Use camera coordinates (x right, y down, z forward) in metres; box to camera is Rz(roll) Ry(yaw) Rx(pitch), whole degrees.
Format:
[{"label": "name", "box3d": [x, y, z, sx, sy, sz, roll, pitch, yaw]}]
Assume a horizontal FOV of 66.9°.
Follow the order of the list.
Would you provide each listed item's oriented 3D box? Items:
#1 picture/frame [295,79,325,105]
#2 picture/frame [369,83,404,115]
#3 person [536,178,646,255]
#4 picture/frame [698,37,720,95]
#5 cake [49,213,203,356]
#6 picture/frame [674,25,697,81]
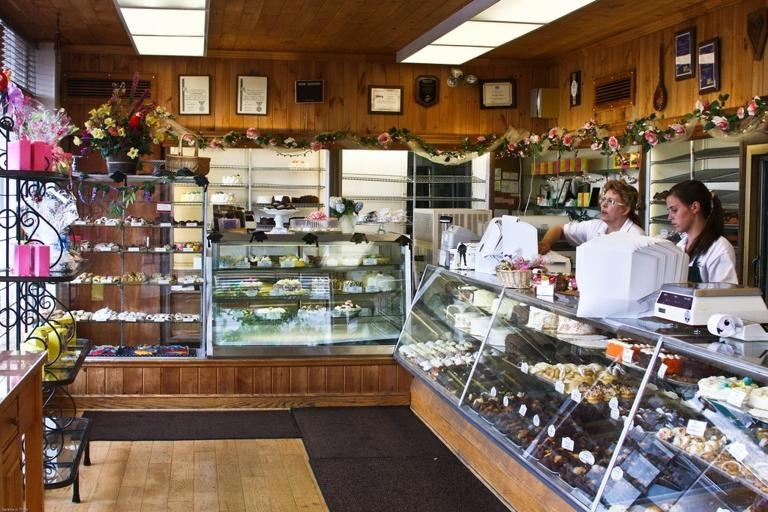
[{"label": "picture/frame", "box3d": [-0.936, -2.053, 7.235, 0.356, 0.295, 0.082, -3, 5, -4]}, {"label": "picture/frame", "box3d": [0.013, -2.015, 7.393, 0.444, 0.332, 0.046, 1, 1, -8]}, {"label": "person", "box3d": [1.690, -0.298, 4.788, 0.773, 0.774, 0.708, 2, 3, 1]}, {"label": "picture/frame", "box3d": [3.165, -1.838, 5.645, 0.054, 0.508, 0.252, -3, 9, -20]}, {"label": "cake", "box3d": [-2.448, 0.296, 5.630, 1.532, 1.298, 0.510, 0, -4, -7]}, {"label": "picture/frame", "box3d": [3.046, -2.033, 5.854, 0.047, 0.498, 0.242, -3, 10, -23]}]
